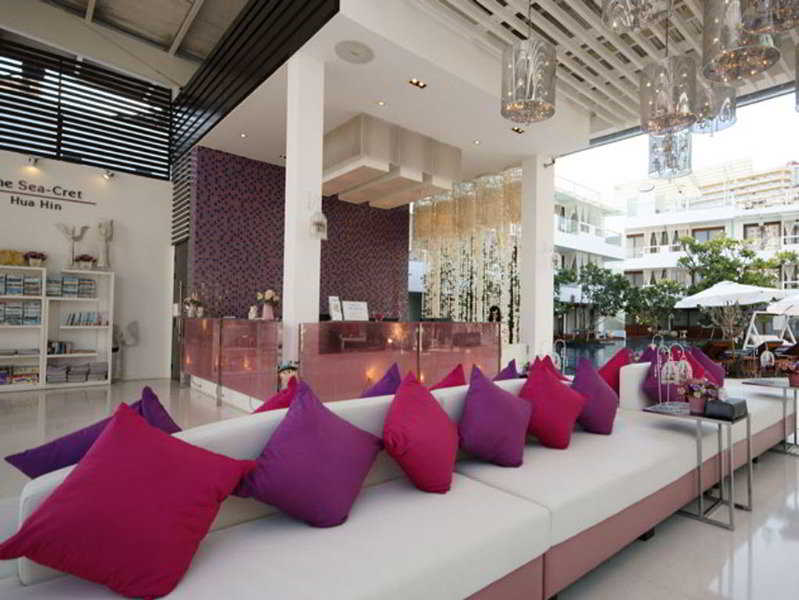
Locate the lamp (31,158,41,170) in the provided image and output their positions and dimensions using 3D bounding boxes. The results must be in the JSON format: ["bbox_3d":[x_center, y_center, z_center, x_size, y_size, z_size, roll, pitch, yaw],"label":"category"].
[{"bbox_3d":[-5.520,-2.064,8.333,0.110,0.135,0.113,-1,-1,32],"label":"lamp"}]

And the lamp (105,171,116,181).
[{"bbox_3d":[-4.717,-2.026,8.945,0.105,0.122,0.129,7,5,-6],"label":"lamp"}]

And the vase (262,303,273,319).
[{"bbox_3d":[-1.727,0.131,7.244,0.182,0.286,0.198,0,1,-10],"label":"vase"}]

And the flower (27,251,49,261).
[{"bbox_3d":[-5.383,-0.660,8.210,0.148,0.117,0.159,-2,-5,22],"label":"flower"}]

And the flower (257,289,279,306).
[{"bbox_3d":[-1.730,-0.038,7.419,0.340,0.203,0.368,-4,-5,11],"label":"flower"}]

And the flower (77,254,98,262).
[{"bbox_3d":[-4.897,-0.646,8.614,0.133,0.085,0.143,3,-6,-8],"label":"flower"}]

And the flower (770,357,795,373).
[{"bbox_3d":[4.008,0.655,5.707,0.195,0.132,0.210,-4,-6,17],"label":"flower"}]

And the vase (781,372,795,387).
[{"bbox_3d":[4.031,0.807,5.681,0.132,0.107,0.131,1,-3,-41],"label":"vase"}]

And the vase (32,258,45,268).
[{"bbox_3d":[-5.403,-0.560,8.190,0.108,0.090,0.129,-1,-6,6],"label":"vase"}]

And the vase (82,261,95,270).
[{"bbox_3d":[-4.915,-0.540,8.644,0.177,0.142,0.095,0,-1,-44],"label":"vase"}]

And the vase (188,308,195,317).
[{"bbox_3d":[-3.262,0.193,8.587,0.079,0.147,0.370,0,-3,-31],"label":"vase"}]

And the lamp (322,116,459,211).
[{"bbox_3d":[-0.303,-2.032,8.291,1.817,0.864,1.381,0,-3,-35],"label":"lamp"}]

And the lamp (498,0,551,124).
[{"bbox_3d":[1.210,-2.087,5.284,0.503,0.726,0.348,-1,-2,4],"label":"lamp"}]

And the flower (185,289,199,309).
[{"bbox_3d":[-3.234,-0.040,8.573,0.117,0.284,0.270,30,11,25],"label":"flower"}]
